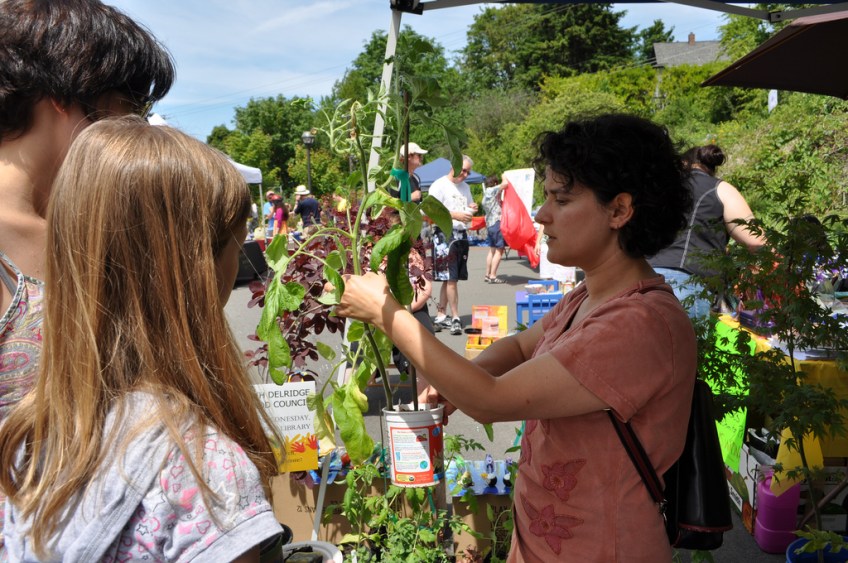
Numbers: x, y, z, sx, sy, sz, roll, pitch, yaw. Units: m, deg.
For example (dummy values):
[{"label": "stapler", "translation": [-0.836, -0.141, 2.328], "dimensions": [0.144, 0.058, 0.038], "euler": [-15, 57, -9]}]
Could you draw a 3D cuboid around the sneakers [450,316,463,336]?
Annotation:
[{"label": "sneakers", "translation": [0.362, 0.535, 8.573], "dimensions": [0.213, 0.264, 0.598], "euler": [0, 0, 2]}]

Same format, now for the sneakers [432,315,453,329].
[{"label": "sneakers", "translation": [0.222, 0.504, 8.807], "dimensions": [0.104, 0.136, 0.286], "euler": [-5, -5, 43]}]

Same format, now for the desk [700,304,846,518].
[{"label": "desk", "translation": [1.723, 0.632, 3.540], "dimensions": [0.559, 0.775, 1.120], "euler": [-3, 9, 0]}]

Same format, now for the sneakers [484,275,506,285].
[{"label": "sneakers", "translation": [1.234, -0.016, 12.863], "dimensions": [0.370, 0.167, 0.129], "euler": [-2, 15, -5]}]
